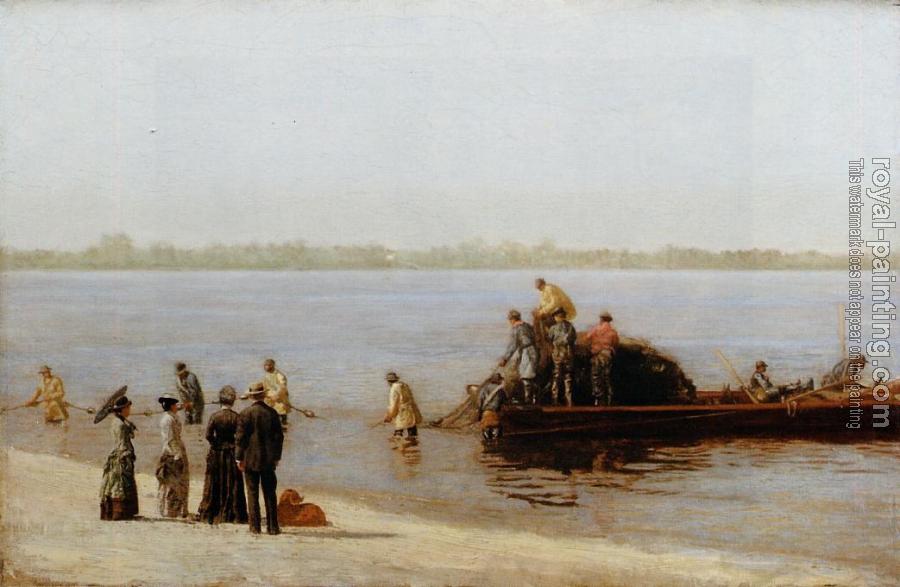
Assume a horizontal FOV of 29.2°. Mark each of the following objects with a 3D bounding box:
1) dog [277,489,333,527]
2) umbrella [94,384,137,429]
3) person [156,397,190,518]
[{"bbox_3d":[-4.225,6.181,50.351,1.556,0.966,0.974,5,18,20],"label":"dog"},{"bbox_3d":[-9.806,3.195,50.279,0.851,0.984,2.151,-2,-1,-11],"label":"umbrella"},{"bbox_3d":[-7.926,4.727,49.579,0.890,3.135,0.847,-2,1,-9],"label":"person"}]
